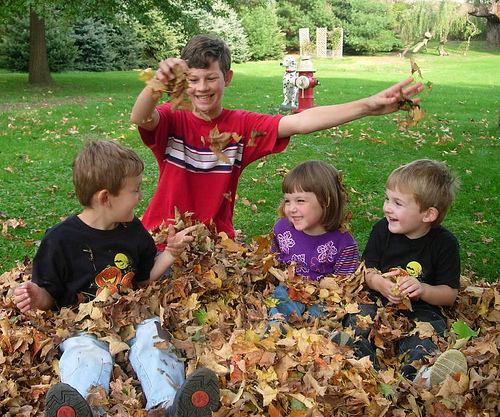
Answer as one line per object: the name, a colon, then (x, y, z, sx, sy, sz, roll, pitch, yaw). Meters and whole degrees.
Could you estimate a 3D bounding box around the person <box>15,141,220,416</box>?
person: (-0.903, 0.337, 3.014, 1.242, 1.247, 1.751, -3, 24, -26)

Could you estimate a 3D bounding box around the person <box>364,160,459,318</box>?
person: (1.178, 0.214, 3.297, 0.599, 0.899, 0.580, -2, 21, -14)

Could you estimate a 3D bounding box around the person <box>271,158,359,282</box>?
person: (0.517, 0.119, 3.496, 0.605, 0.797, 0.409, 0, 20, -8)
